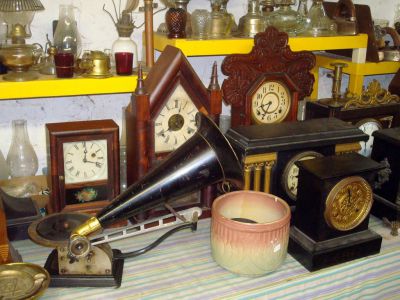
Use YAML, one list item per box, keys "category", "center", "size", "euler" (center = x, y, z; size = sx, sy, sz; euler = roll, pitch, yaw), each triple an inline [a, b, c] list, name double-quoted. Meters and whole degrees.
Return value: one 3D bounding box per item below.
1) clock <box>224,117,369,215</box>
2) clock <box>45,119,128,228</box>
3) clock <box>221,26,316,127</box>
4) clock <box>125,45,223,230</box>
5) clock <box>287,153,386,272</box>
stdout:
- category: "clock"
  center: [0.418, 0.040, 1.760]
  size: [0.517, 0.339, 0.222]
  euler: [-9, 33, -10]
- category: "clock"
  center: [-0.479, 0.101, 1.686]
  size: [0.291, 0.426, 0.132]
  euler: [-7, 26, -26]
- category: "clock"
  center: [0.309, -0.344, 1.880]
  size: [0.389, 0.608, 0.051]
  euler: [-12, 30, -19]
- category: "clock"
  center: [-0.112, -0.134, 1.694]
  size: [0.402, 0.582, 0.179]
  euler: [-5, 16, -17]
- category: "clock"
  center: [0.504, 0.240, 1.532]
  size: [0.314, 0.383, 0.198]
  euler: [-11, 21, -23]
